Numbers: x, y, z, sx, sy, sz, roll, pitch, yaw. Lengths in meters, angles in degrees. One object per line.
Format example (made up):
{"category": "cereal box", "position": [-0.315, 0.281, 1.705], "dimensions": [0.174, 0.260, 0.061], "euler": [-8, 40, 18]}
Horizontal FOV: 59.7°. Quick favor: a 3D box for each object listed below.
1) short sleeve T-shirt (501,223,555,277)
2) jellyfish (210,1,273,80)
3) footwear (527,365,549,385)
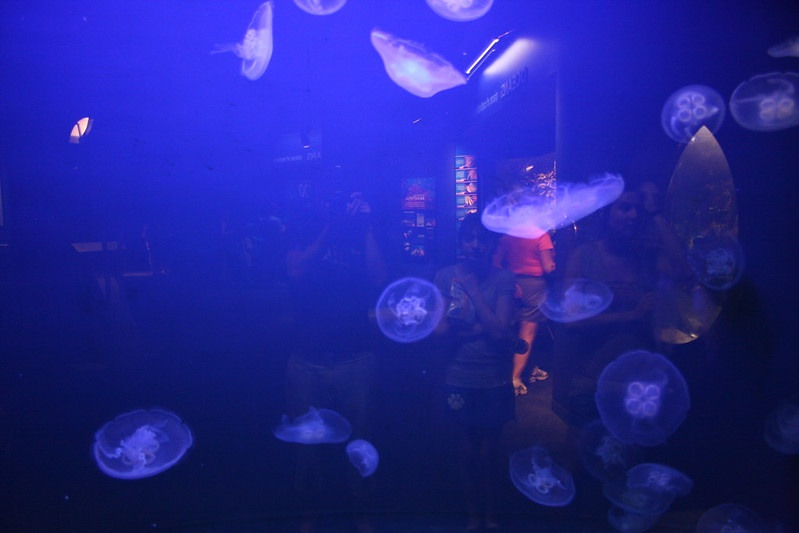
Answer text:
{"category": "short sleeve T-shirt", "position": [0.992, -0.087, 5.514], "dimensions": [0.545, 0.311, 0.516], "euler": [-1, -67, 11]}
{"category": "jellyfish", "position": [-1.121, -1.754, 5.364], "dimensions": [0.401, 0.148, 0.578], "euler": [37, -81, -14]}
{"category": "footwear", "position": [1.107, 0.886, 5.594], "dimensions": [0.175, 0.117, 0.084], "euler": [5, -100, -40]}
